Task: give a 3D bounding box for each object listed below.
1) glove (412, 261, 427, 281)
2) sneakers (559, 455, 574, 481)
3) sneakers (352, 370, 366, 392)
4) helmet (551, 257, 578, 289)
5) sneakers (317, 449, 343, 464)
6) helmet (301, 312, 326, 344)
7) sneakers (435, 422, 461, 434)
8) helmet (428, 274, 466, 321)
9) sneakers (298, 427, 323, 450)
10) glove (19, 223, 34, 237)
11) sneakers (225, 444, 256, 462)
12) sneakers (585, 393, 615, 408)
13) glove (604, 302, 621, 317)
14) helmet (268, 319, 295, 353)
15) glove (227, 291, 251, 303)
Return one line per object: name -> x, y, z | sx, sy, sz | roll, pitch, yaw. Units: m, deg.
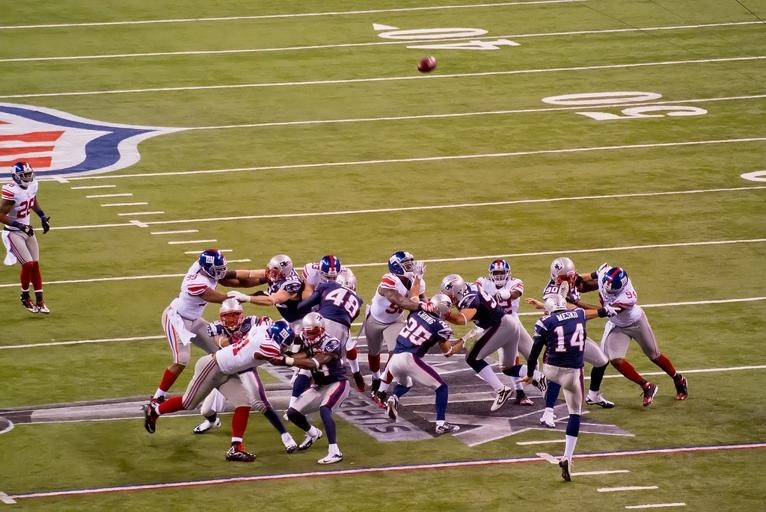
glove -> 0.500, 0.218, 19.251 | 0.230, 0.212, 0.103 | 5, 4, -4
sneakers -> 2.246, 2.668, 16.991 | 0.182, 0.277, 0.121 | -24, 12, -12
sneakers -> -0.340, 1.781, 19.076 | 0.151, 0.328, 0.150 | -25, 21, 13
helmet -> 2.560, 0.197, 19.092 | 0.418, 0.297, 0.444 | -5, 19, -12
sneakers -> -0.657, 2.565, 17.384 | 0.428, 0.100, 0.210 | -2, -34, 1
helmet -> -0.898, 0.952, 17.568 | 0.297, 0.396, 0.256 | -2, 7, -2
sneakers -> 0.821, 2.295, 18.052 | 0.421, 0.116, 0.112 | -3, 26, -8
helmet -> 0.913, 0.651, 18.482 | 0.399, 0.568, 0.433 | 6, 25, 0
sneakers -> -0.938, 2.412, 17.807 | 0.119, 0.348, 0.160 | 48, -8, 22
glove -> -5.500, -0.371, 21.276 | 0.237, 0.122, 0.142 | 1, 11, -10
sneakers -> -1.804, 2.532, 17.384 | 0.386, 0.234, 0.216 | -2, 6, -5
sneakers -> 2.931, 2.013, 18.715 | 0.536, 0.158, 0.144 | 7, 27, -1
glove -> 3.114, 0.774, 18.675 | 0.255, 0.068, 0.171 | 13, -4, 30
helmet -> -1.283, 1.060, 17.608 | 0.236, 0.410, 0.474 | 1, 7, 23
glove -> -1.988, 0.597, 18.846 | 0.476, 0.120, 0.107 | 16, 14, -45
